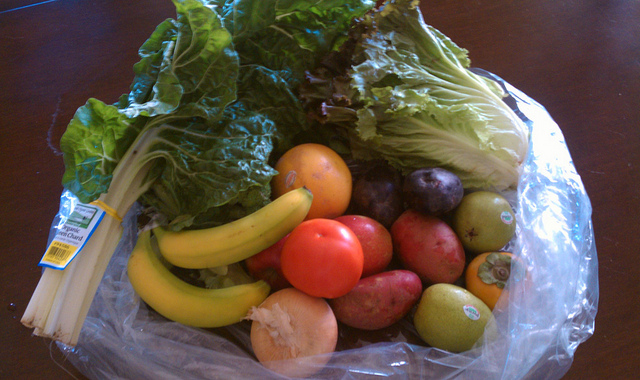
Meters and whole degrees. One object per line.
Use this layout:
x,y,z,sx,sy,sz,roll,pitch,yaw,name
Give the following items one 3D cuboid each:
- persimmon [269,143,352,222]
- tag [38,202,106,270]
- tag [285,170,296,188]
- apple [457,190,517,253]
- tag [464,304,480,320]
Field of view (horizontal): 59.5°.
-0.027,-0.012,1.976,0.257,0.258,0.260,9,-2,-36,persimmon
-0.775,0.148,1.769,0.151,0.036,0.281,21,73,25,tag
-0.098,-0.040,1.856,0.033,0.050,0.014,26,9,28,tag
0.561,0.101,1.920,0.193,0.211,0.195,6,84,17,apple
0.462,0.371,1.720,0.043,0.010,0.040,-10,70,-14,tag
